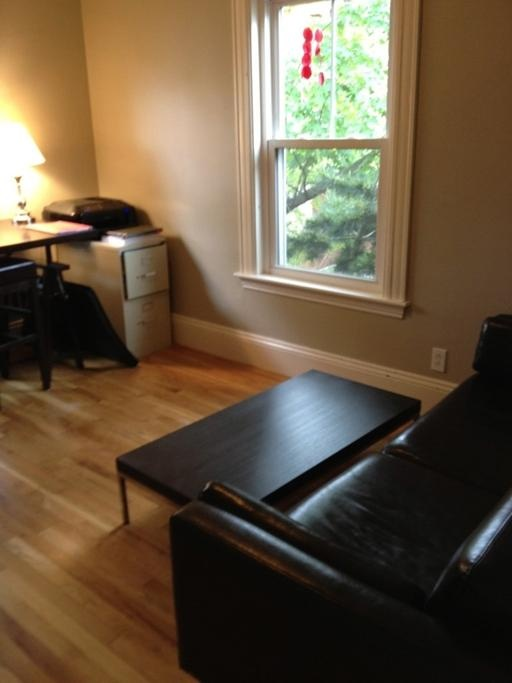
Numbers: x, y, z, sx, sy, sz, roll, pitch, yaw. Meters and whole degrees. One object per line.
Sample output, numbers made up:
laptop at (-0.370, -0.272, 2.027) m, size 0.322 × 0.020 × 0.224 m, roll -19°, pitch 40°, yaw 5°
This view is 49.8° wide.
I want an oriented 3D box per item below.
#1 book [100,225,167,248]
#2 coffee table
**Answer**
book at (-0.761, -0.673, 3.544) m, size 0.282 × 0.066 × 0.202 m, roll -17°, pitch 30°, yaw -32°
coffee table at (0.037, 0.326, 1.950) m, size 0.503 × 0.237 × 0.943 m, roll 19°, pitch 30°, yaw 40°
